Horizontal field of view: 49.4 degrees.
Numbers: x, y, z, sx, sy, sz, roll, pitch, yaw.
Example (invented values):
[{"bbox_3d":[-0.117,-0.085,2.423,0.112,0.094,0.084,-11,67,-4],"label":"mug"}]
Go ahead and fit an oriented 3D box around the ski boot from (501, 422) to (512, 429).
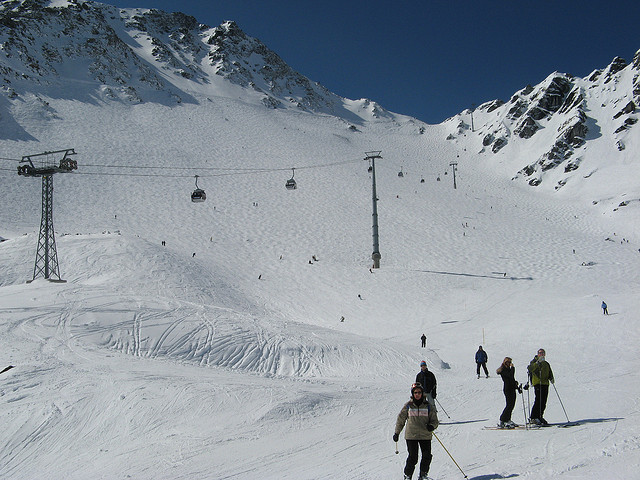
[{"bbox_3d":[12.091,11.987,45.072,0.636,0.280,0.284,1,-14,9],"label":"ski boot"}]
